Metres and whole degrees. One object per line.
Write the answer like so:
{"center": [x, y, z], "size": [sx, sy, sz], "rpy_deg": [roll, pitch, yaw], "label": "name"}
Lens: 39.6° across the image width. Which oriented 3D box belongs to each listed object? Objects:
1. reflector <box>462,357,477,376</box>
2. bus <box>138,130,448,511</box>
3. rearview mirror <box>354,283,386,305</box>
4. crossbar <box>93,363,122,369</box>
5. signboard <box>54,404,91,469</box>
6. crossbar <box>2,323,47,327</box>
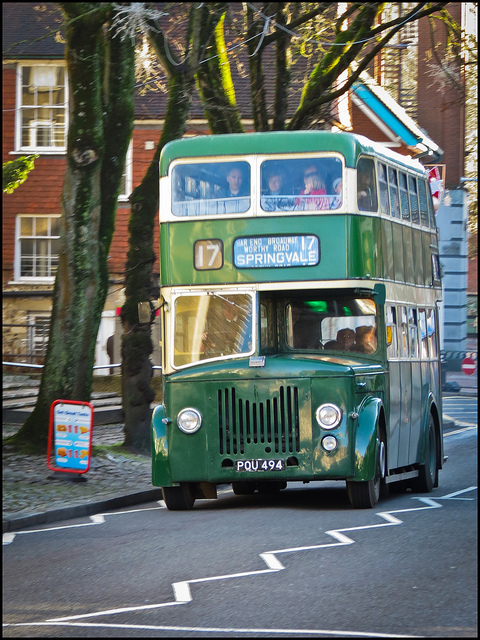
{"center": [10.411, 2.103, 30.272], "size": [0.780, 1.187, 0.196], "rpy_deg": [1, -7, -6], "label": "reflector"}
{"center": [1.135, -0.013, 9.042], "size": [4.782, 5.148, 2.394], "rpy_deg": [3, -5, -45], "label": "bus"}
{"center": [1.653, -0.323, 8.245], "size": [0.275, 0.252, 0.281], "rpy_deg": [1, 3, -5], "label": "rearview mirror"}
{"center": [-4.695, 1.632, 23.672], "size": [0.646, 0.225, 8.032], "rpy_deg": [0, -5, -12], "label": "crossbar"}
{"center": [-2.680, 1.854, 10.671], "size": [0.670, 1.290, 0.143], "rpy_deg": [3, 20, -9], "label": "signboard"}
{"center": [-8.734, 0.240, 26.827], "size": [1.592, 0.220, 0.154], "rpy_deg": [1, -7, 3], "label": "crossbar"}
